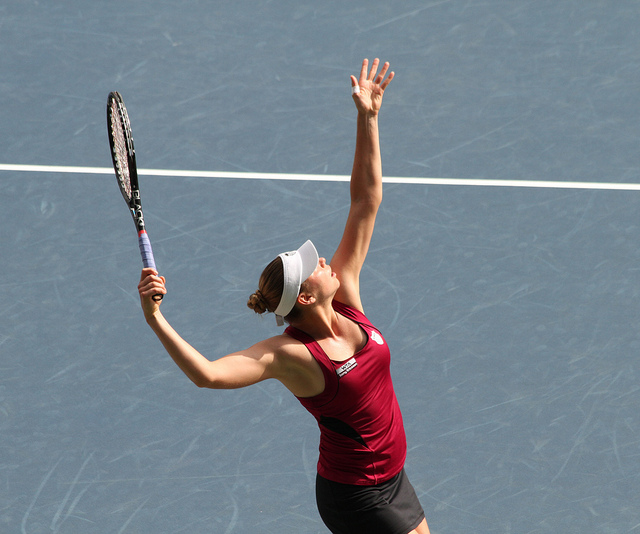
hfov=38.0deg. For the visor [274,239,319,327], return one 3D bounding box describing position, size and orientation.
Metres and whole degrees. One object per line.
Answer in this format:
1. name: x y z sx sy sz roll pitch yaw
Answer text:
1. visor: -0.155 0.084 5.913 0.174 0.448 0.285 18 1 -23
